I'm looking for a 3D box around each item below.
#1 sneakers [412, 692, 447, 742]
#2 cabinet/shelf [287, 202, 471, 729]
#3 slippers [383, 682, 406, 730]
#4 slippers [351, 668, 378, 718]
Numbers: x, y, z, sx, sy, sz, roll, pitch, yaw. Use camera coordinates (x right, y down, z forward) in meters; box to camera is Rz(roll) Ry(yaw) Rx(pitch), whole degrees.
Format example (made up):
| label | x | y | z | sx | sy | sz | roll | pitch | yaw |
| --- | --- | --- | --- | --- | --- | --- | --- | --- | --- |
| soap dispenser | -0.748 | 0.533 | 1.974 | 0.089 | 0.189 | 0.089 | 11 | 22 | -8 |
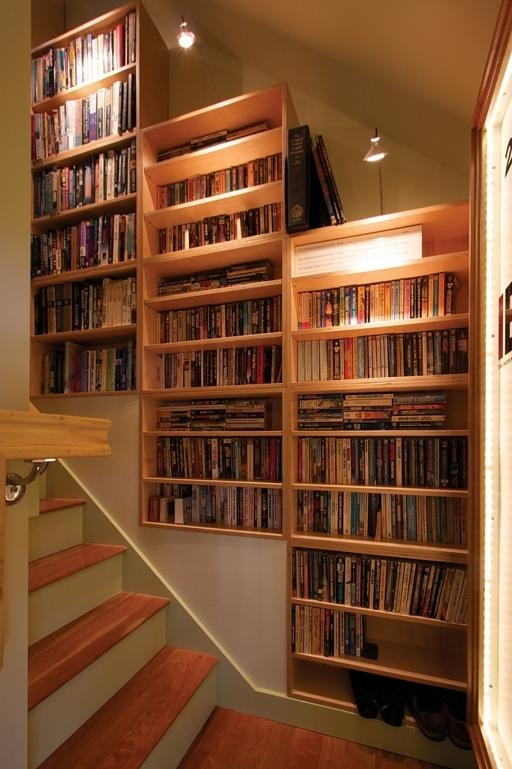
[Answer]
| label | x | y | z | sx | sy | sz | roll | pitch | yaw |
| --- | --- | --- | --- | --- | --- | --- | --- | --- | --- |
| sneakers | 0.619 | 1.177 | 2.113 | 0.055 | 0.077 | 0.171 | -2 | 2 | 1 |
| cabinet/shelf | 0.467 | 0.275 | 2.305 | 0.706 | 1.513 | 0.422 | -1 | 1 | 23 |
| slippers | 0.508 | 1.184 | 2.188 | 0.085 | 0.102 | 0.196 | -2 | 1 | 17 |
| slippers | 0.407 | 1.175 | 2.241 | 0.087 | 0.115 | 0.235 | -2 | 1 | 3 |
